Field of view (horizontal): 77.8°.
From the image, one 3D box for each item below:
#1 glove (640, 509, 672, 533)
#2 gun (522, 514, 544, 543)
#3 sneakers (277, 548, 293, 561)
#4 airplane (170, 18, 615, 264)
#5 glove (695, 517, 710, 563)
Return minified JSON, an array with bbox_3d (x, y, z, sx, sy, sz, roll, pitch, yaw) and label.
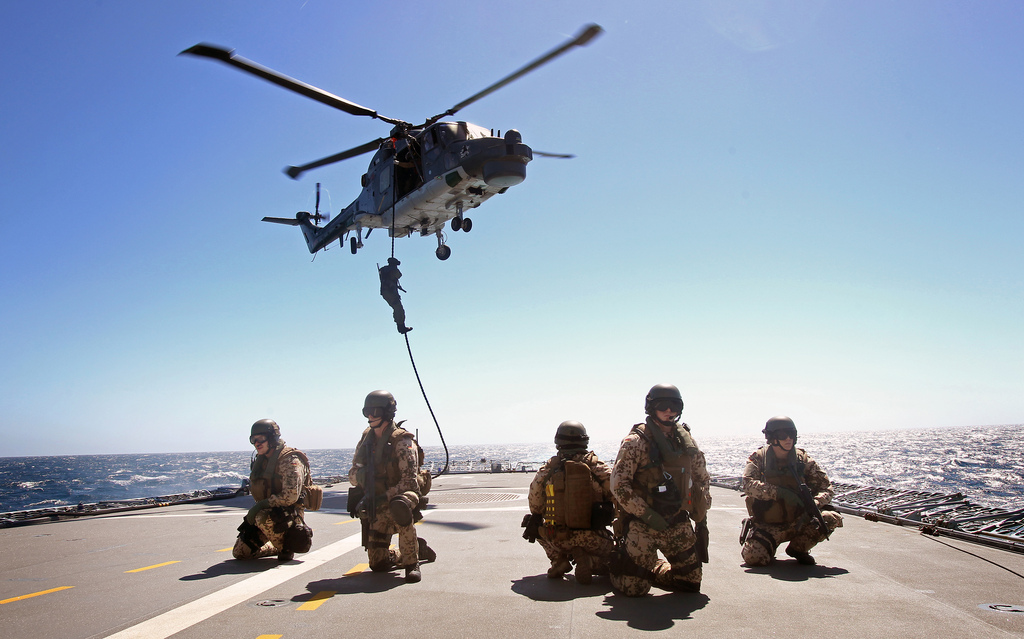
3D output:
[{"bbox_3d":[2.159,3.046,9.593,0.347,0.237,0.188,23,13,14],"label":"glove"},{"bbox_3d":[0.378,3.519,10.693,0.448,0.515,0.221,2,-2,23],"label":"gun"},{"bbox_3d":[-4.119,4.243,11.562,0.211,0.217,0.258,-2,-2,6],"label":"sneakers"},{"bbox_3d":[-3.156,-5.548,19.957,9.191,3.106,7.725,-11,-7,44],"label":"airplane"},{"bbox_3d":[2.927,3.388,9.779,0.132,0.625,0.263,-7,-14,31],"label":"glove"}]
